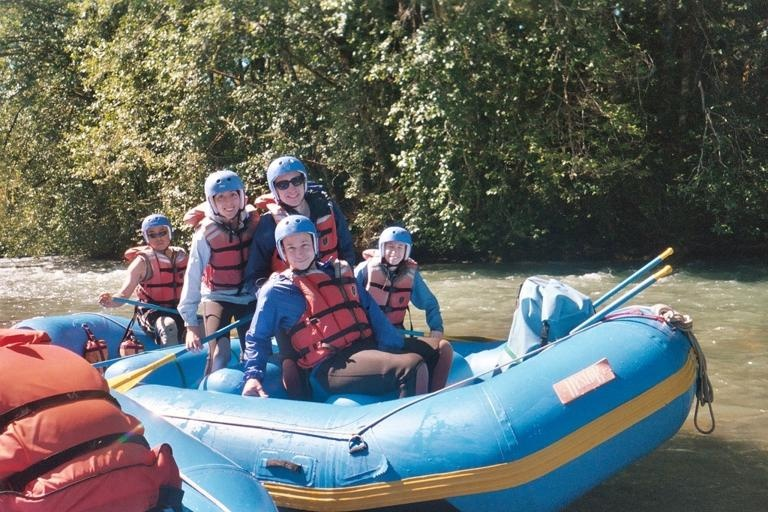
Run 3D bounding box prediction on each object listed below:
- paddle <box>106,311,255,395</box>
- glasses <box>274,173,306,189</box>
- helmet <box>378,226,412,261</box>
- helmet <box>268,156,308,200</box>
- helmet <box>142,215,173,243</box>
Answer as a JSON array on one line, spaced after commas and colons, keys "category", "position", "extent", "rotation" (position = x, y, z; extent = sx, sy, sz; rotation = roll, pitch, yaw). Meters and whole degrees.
[{"category": "paddle", "position": [-2.506, 1.246, 11.319], "extent": [1.585, 0.129, 0.319], "rotation": [-29, 51, -31]}, {"category": "glasses", "position": [-1.153, -0.909, 11.121], "extent": [0.372, 0.200, 0.072], "rotation": [-2, 0, -11]}, {"category": "helmet", "position": [0.170, -0.207, 11.507], "extent": [0.326, 0.334, 0.445], "rotation": [8, -26, 5]}, {"category": "helmet", "position": [-1.207, -1.003, 11.377], "extent": [0.498, 0.561, 0.625], "rotation": [-10, -8, -11]}, {"category": "helmet", "position": [-3.159, -0.394, 12.598], "extent": [0.321, 0.423, 0.351], "rotation": [-1, -1, -8]}]
